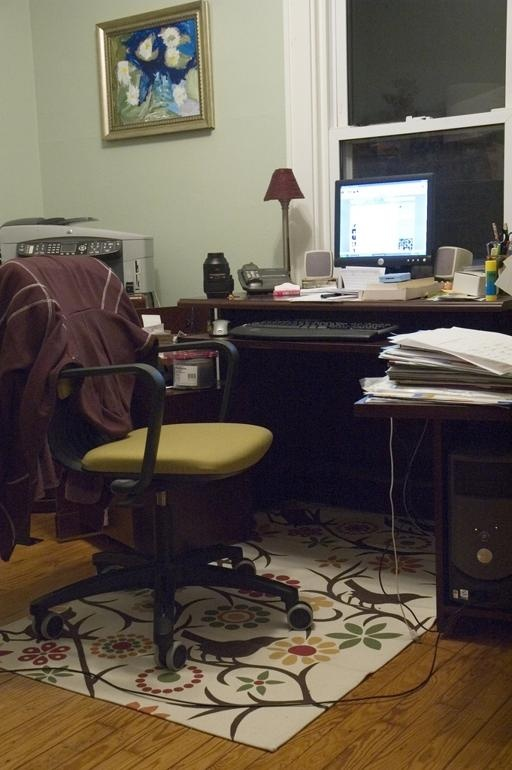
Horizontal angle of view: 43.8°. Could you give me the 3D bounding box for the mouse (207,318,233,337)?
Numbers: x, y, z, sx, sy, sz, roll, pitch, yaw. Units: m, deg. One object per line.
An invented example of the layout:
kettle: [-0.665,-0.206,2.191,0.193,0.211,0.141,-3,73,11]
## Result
mouse: [-0.124,-0.203,2.225,0.068,0.059,0.057,1,5,13]

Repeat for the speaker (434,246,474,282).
speaker: [0.690,-0.430,2.246,0.130,0.125,0.240,-1,3,17]

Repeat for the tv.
tv: [0.481,-0.601,2.340,0.361,0.324,0.140,5,8,32]

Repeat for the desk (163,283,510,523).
desk: [0.264,0.152,2.349,1.394,1.029,0.764,2,4,22]

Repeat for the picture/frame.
picture/frame: [-0.488,-1.565,3.176,0.846,0.683,0.037,6,17,36]

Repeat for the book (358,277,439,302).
book: [0.496,-0.304,2.052,0.348,0.086,0.160,-5,4,-40]
